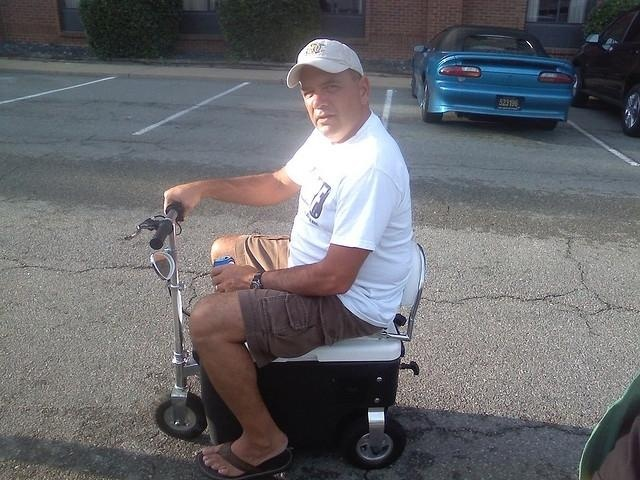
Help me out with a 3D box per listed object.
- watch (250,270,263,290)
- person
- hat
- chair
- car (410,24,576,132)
[{"bbox_3d":[-0.294,0.192,2.473,0.047,0.079,0.074,4,12,-4],"label":"watch"},{"bbox_3d":[-0.035,0.069,2.597,0.963,1.840,1.313,4,28,10],"label":"person"},{"bbox_3d":[-0.016,-0.883,2.621,0.285,0.211,0.386,-5,6,9],"label":"hat"},{"bbox_3d":[0.043,0.493,2.752,0.876,0.919,0.575,3,7,-12],"label":"chair"},{"bbox_3d":[3.184,-3.402,10.763,2.399,1.575,4.519,4,23,0],"label":"car"}]
